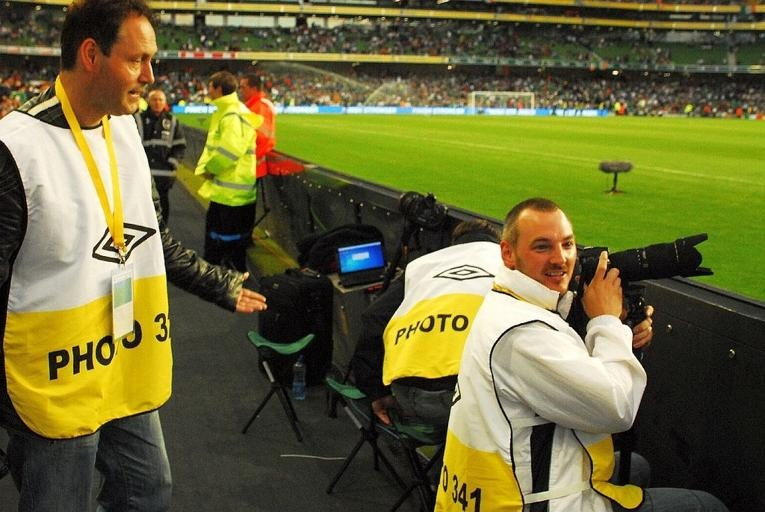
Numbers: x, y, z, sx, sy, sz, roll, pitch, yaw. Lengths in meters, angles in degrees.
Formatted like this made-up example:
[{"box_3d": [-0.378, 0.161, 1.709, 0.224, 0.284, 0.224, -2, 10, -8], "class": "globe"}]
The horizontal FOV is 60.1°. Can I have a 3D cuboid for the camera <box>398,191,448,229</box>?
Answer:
[{"box_3d": [0.240, -0.281, 4.045, 0.261, 0.202, 0.125, 16, 15, 12], "class": "camera"}]

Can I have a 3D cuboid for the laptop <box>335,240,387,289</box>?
[{"box_3d": [-0.151, 0.051, 4.679, 0.362, 0.232, 0.285, -8, 13, -12], "class": "laptop"}]
